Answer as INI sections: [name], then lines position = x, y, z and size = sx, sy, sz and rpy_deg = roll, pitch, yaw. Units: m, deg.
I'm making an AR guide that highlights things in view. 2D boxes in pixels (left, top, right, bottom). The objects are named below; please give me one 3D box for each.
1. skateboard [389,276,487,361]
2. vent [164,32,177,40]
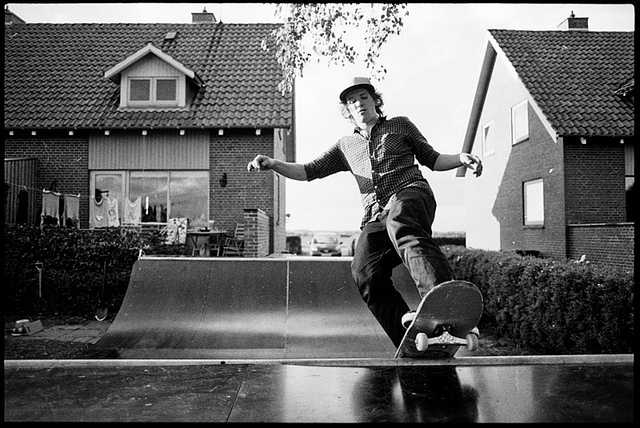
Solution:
[skateboard]
position = 1.246, 1.118, 5.748
size = 0.463, 0.295, 1.575
rpy_deg = 3, -33, -2
[vent]
position = -5.065, -6.009, 18.916
size = 0.277, 0.440, 0.100
rpy_deg = 0, -45, 1
